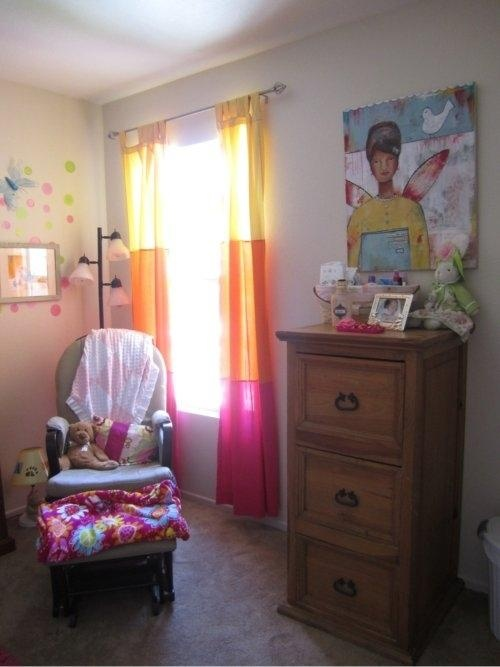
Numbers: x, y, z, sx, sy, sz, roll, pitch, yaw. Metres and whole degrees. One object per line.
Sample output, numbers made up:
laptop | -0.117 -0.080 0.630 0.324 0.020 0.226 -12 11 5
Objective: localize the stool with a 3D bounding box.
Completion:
stool | -0.557 0.905 2.171 0.467 0.319 0.494 -3 6 -20

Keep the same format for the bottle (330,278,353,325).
bottle | 0.356 -0.118 2.081 0.076 0.178 0.227 0 5 9

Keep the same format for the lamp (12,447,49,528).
lamp | -1.174 0.804 2.894 0.161 0.437 0.401 -3 6 -23

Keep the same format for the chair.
chair | -0.628 0.423 2.735 0.642 0.903 0.782 -2 -11 -13

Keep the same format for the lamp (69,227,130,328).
lamp | -0.913 -0.344 3.308 0.351 0.627 0.425 -2 6 -14

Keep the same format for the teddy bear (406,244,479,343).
teddy bear | 0.718 -0.164 2.039 0.231 0.321 0.295 -3 6 -40

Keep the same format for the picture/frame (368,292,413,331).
picture/frame | 0.519 -0.078 1.964 0.141 0.140 0.011 10 -18 43

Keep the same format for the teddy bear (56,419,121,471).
teddy bear | -0.755 0.544 2.552 0.233 0.231 0.201 10 -31 -44

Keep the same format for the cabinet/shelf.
cabinet/shelf | 0.469 0.516 2.052 0.554 1.077 0.579 3 7 34
